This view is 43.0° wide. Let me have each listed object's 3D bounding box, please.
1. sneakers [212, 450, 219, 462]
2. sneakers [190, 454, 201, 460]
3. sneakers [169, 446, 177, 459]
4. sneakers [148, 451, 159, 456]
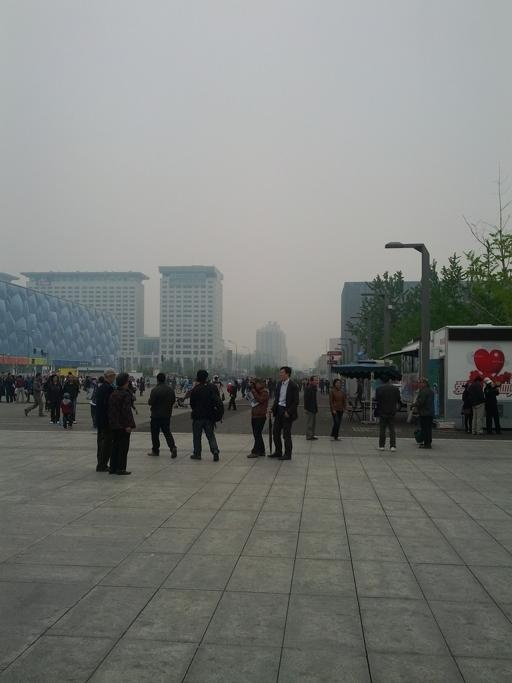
[{"bbox_3d":[-0.790,2.227,12.848,0.085,0.123,0.273,1,10,-1],"label":"sneakers"},{"bbox_3d":[-1.195,2.294,12.906,0.193,0.107,0.264,2,-3,-15],"label":"sneakers"},{"bbox_3d":[-1.698,2.282,13.365,0.180,0.227,0.514,3,-7,-4],"label":"sneakers"},{"bbox_3d":[-2.141,2.329,13.565,0.086,0.115,0.237,1,3,-39],"label":"sneakers"}]
